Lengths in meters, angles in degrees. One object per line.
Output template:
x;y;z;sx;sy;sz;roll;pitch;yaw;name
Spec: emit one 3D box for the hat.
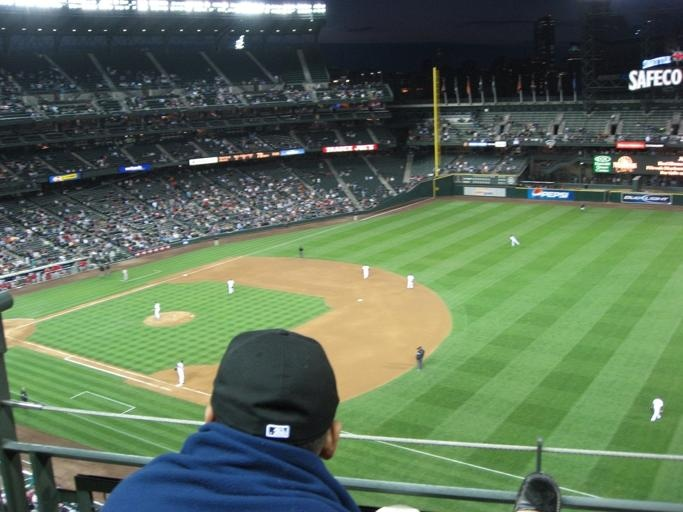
-0.278;0.538;2.549;0.648;0.235;0.638;5;7;-5;hat
